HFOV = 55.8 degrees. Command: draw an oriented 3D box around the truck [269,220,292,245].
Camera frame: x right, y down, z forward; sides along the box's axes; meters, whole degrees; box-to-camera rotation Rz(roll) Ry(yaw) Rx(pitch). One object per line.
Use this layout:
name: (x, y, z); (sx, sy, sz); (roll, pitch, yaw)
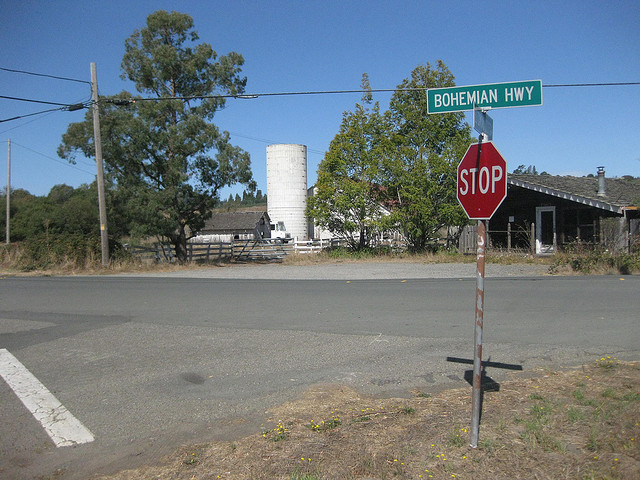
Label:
truck: (-3.552, -0.698, 50.442); (2.088, 2.097, 1.528); (-1, 1, 32)

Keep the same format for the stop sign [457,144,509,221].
stop sign: (2.050, -0.726, 7.654); (0.305, 0.944, 0.748); (-6, 9, -29)

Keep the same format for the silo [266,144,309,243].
silo: (-2.617, -3.742, 50.116); (3.042, 8.057, 3.760); (3, 9, 30)

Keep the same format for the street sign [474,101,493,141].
street sign: (2.146, -1.564, 7.972); (0.218, 0.483, 0.538); (0, 8, 13)

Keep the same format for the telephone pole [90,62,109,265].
telephone pole: (-10.493, -3.229, 29.037); (0.699, 9.207, 0.862); (3, 4, 30)

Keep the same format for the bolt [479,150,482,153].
bolt: (2.039, -1.124, 7.689); (0.024, 0.027, 0.006); (-1, 2, -2)
